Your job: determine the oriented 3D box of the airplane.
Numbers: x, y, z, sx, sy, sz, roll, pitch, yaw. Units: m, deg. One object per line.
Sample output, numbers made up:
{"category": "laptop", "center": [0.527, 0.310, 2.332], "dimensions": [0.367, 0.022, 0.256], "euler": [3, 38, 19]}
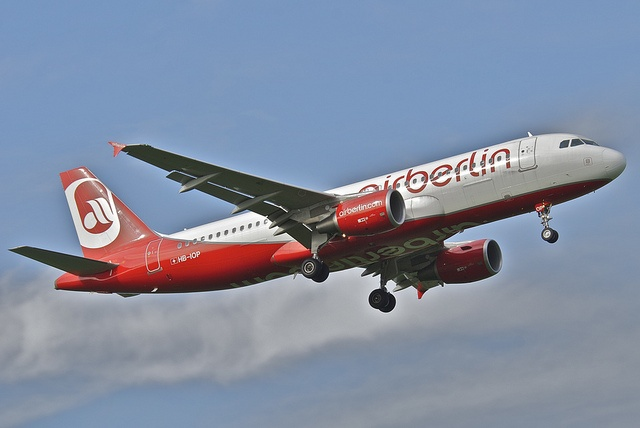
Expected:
{"category": "airplane", "center": [0.437, 0.378, 29.285], "dimensions": [12.609, 2.998, 10.358], "euler": [-14, -19, 18]}
